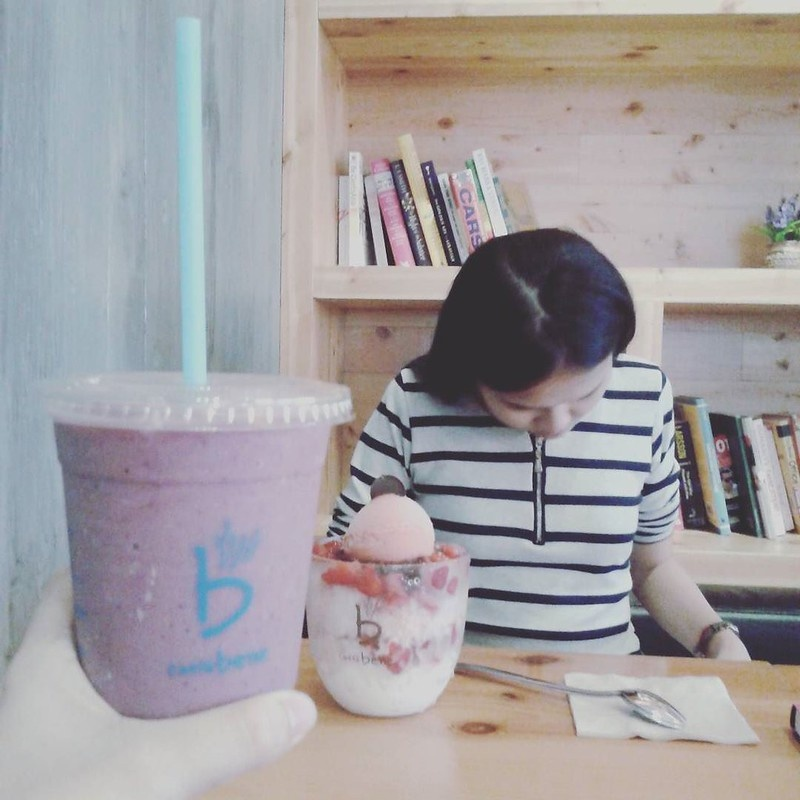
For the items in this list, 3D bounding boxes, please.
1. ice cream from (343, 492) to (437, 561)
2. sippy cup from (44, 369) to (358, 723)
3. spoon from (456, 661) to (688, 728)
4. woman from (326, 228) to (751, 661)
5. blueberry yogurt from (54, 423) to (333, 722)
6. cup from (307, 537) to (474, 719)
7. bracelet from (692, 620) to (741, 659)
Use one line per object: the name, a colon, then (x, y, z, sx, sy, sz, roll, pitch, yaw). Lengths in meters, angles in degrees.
ice cream: (-0.011, 0.119, 0.994, 0.093, 0.060, 0.095, -2, 4, -20)
sippy cup: (-0.170, 0.114, 0.885, 0.259, 0.253, 0.263, 2, 1, 0)
spoon: (0.158, 0.282, 0.992, 0.184, 0.025, 0.033, 4, 50, 16)
woman: (0.174, 0.141, 1.552, 0.590, 0.816, 0.423, -1, 31, 1)
blueberry yogurt: (-0.161, 0.141, 0.904, 0.215, 0.237, 0.219, 1, -6, -11)
cup: (-0.010, 0.224, 1.005, 0.166, 0.148, 0.155, -2, -2, 0)
bracelet: (0.433, 0.327, 1.452, 0.050, 0.065, 0.028, -12, 34, -26)
